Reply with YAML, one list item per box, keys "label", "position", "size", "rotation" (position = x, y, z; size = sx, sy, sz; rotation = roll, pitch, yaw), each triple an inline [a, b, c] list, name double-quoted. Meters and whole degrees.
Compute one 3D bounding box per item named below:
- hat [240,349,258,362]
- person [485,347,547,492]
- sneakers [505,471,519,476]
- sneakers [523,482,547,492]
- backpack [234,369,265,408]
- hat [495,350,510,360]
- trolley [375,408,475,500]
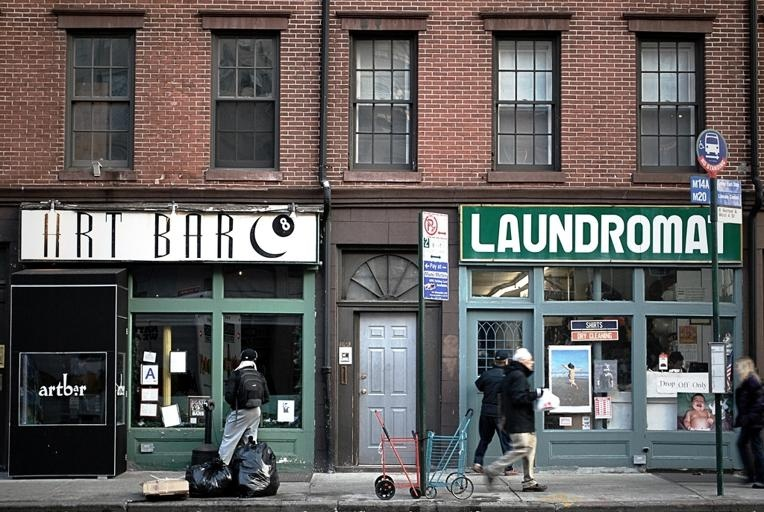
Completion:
- label: "hat"
  position: [-2.484, 1.907, 27.529]
  size: [0.231, 0.309, 0.305]
  rotation: [2, 18, 1]
- label: "person"
  position: [2.465, 3.007, 26.812]
  size: [1.125, 2.613, 0.652]
  rotation: [-1, -5, -7]
- label: "sneakers"
  position: [2.512, 4.140, 27.958]
  size: [0.257, 0.110, 0.087]
  rotation: [-2, 3, -1]
- label: "sneakers"
  position: [2.832, 4.245, 26.923]
  size: [0.401, 0.172, 0.171]
  rotation: [-1, 0, -8]
- label: "backpack"
  position: [-2.432, 2.426, 27.101]
  size: [0.495, 0.758, 0.313]
  rotation: [1, -6, -21]
- label: "hat"
  position: [2.384, 1.897, 28.190]
  size: [0.218, 0.171, 0.355]
  rotation: [2, -5, 16]
- label: "trolley"
  position: [0.878, 3.786, 27.221]
  size: [1.972, 1.839, 1.273]
  rotation: [-1, -5, -1]
